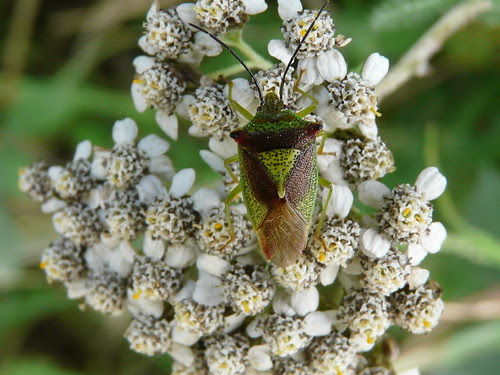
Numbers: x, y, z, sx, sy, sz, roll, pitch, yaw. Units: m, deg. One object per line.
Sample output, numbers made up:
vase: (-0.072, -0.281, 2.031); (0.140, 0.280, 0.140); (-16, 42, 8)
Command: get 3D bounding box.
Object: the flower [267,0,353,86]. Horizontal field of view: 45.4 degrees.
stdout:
flower: (0.593, -1.448, 6.030); (0.759, 0.296, 0.880); (-6, 96, 3)
